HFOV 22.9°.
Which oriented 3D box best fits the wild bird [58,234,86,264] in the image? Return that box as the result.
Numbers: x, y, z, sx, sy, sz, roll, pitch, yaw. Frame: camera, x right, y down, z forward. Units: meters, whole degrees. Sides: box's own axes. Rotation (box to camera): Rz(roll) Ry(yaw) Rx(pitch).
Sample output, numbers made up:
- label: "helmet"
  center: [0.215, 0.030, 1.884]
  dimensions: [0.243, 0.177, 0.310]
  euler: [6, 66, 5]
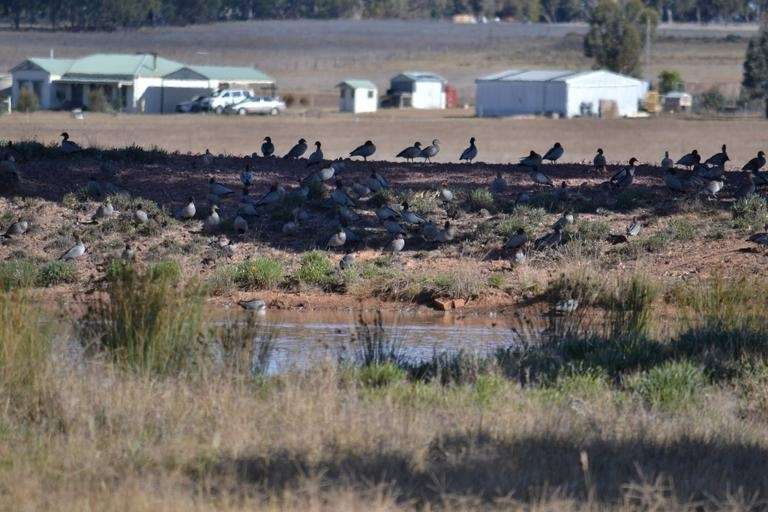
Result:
- label: "wild bird"
  center: [-9.587, -0.216, 59.523]
  dimensions: [0.909, 1.070, 0.573]
  euler: [5, 10, 10]
